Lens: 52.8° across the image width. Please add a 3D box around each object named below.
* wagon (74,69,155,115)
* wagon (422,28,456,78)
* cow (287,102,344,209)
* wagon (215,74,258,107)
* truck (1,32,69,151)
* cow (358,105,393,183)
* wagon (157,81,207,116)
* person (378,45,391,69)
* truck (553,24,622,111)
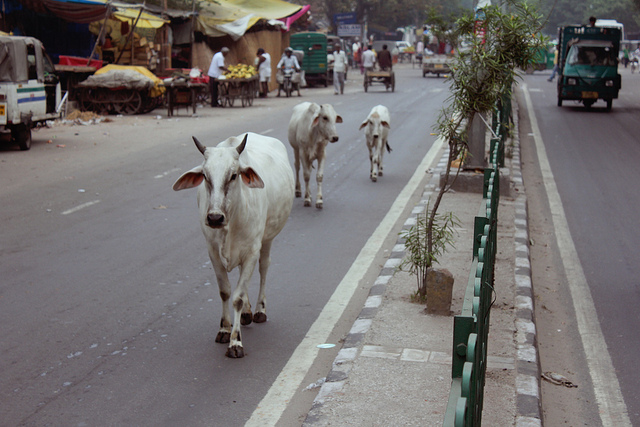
[{"bbox_3d":[-8.149,-4.854,25.594,2.175,1.485,2.052,1,16,3],"label":"wagon"},{"bbox_3d":[8.489,-11.896,48.672,2.253,3.166,5.152,1,15,1],"label":"wagon"},{"bbox_3d":[-0.149,-1.275,13.546,0.992,2.070,1.535,-1,15,-4],"label":"cow"},{"bbox_3d":[-3.860,-5.632,29.508,1.566,1.323,1.879,1,17,3],"label":"wagon"},{"bbox_3d":[-8.882,-3.947,20.193,1.302,3.282,5.315,-4,17,-14],"label":"truck"},{"bbox_3d":[1.431,-1.850,16.119,0.676,1.746,3.108,2,11,9],"label":"cow"},{"bbox_3d":[-5.714,-4.697,26.840,1.808,1.428,2.322,0,2,-4],"label":"wagon"},{"bbox_3d":[3.815,-9.129,37.927,0.730,1.161,0.811,5,16,18],"label":"person"},{"bbox_3d":[12.132,-6.928,29.466,1.920,3.212,4.614,2,12,13],"label":"truck"}]
